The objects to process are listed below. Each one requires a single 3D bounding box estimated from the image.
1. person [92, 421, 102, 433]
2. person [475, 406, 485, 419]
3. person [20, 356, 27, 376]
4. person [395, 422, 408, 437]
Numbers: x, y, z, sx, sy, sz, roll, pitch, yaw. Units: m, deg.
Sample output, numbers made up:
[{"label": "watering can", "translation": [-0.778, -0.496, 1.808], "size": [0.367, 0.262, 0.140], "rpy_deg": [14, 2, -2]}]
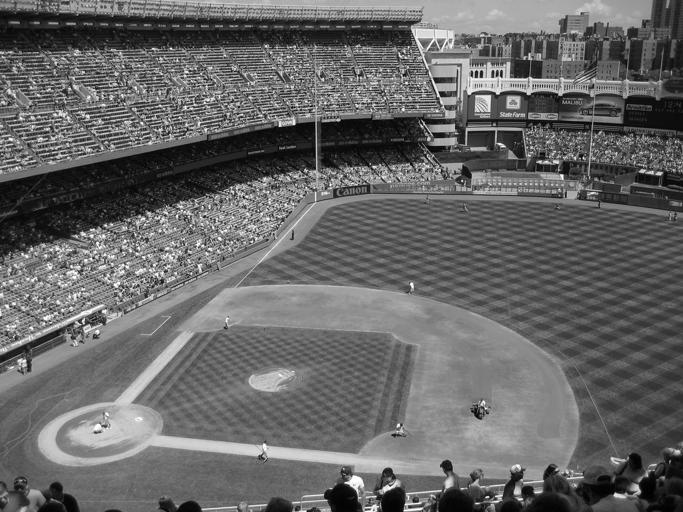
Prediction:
[{"label": "person", "translation": [-15.219, 10.558, 45.291], "size": [0.767, 0.437, 0.930], "rpy_deg": [0, 18, -19]}, {"label": "person", "translation": [8.728, 9.826, 46.315], "size": [0.555, 0.734, 0.727], "rpy_deg": [10, 22, 30]}, {"label": "person", "translation": [-22.175, 7.644, 51.124], "size": [0.463, 0.821, 1.042], "rpy_deg": [-9, 19, -18]}, {"label": "person", "translation": [3.587, 10.628, 45.133], "size": [0.452, 0.465, 1.199], "rpy_deg": [1, 12, 8]}]
